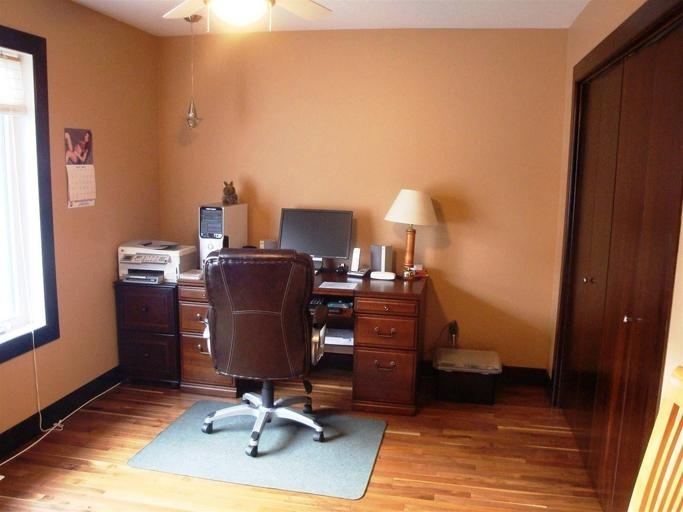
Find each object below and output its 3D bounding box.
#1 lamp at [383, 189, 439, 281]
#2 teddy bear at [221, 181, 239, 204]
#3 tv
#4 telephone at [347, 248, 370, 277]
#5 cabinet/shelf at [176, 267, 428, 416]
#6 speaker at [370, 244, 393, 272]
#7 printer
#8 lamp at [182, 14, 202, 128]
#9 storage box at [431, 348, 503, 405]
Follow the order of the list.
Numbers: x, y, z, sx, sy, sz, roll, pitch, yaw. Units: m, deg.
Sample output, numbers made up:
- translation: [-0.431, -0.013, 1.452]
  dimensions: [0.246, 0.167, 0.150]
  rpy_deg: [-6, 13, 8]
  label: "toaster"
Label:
- translation: [0.564, -0.191, 4.402]
  dimensions: [0.417, 0.678, 0.413]
  rpy_deg: [0, 8, 5]
  label: "lamp"
- translation: [-0.892, -0.522, 4.626]
  dimensions: [0.123, 0.197, 0.211]
  rpy_deg: [-2, -2, -6]
  label: "teddy bear"
- translation: [-0.205, -0.129, 4.333]
  dimensions: [0.519, 0.397, 0.189]
  rpy_deg: [1, 1, 9]
  label: "tv"
- translation: [0.132, 0.046, 4.524]
  dimensions: [0.176, 0.289, 0.234]
  rpy_deg: [1, 6, 18]
  label: "telephone"
- translation: [-0.302, 0.467, 4.578]
  dimensions: [1.843, 1.181, 0.953]
  rpy_deg: [4, 34, 5]
  label: "cabinet/shelf"
- translation: [0.339, -0.007, 4.582]
  dimensions: [0.179, 0.250, 0.331]
  rpy_deg: [-2, 11, 5]
  label: "speaker"
- translation: [-1.475, 0.036, 4.465]
  dimensions: [0.569, 0.301, 0.350]
  rpy_deg: [2, 8, 16]
  label: "printer"
- translation: [-1.193, -1.448, 4.476]
  dimensions: [0.138, 0.773, 0.520]
  rpy_deg: [-2, 8, -16]
  label: "lamp"
- translation: [0.985, 0.933, 4.374]
  dimensions: [0.460, 0.292, 0.362]
  rpy_deg: [2, 3, 8]
  label: "storage box"
